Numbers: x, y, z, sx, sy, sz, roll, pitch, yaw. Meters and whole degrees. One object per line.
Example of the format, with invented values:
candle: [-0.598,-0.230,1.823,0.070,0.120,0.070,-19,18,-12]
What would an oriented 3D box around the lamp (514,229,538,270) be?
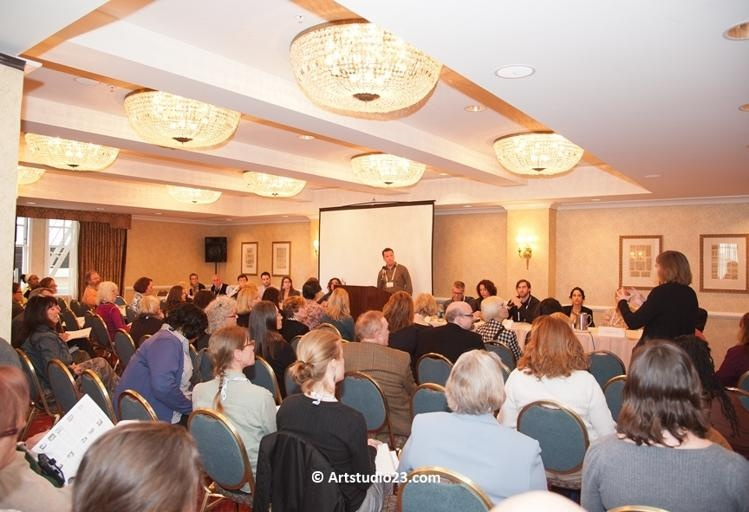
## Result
lamp: [2.835,-0.121,9.677,0.370,0.733,0.140,0,-1,23]

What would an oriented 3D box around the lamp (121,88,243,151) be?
lamp: [-1.849,-1.284,5.038,0.730,0.309,0.744,-13,-22,42]

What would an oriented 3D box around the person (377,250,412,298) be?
person: [0.380,0.327,9.288,0.592,1.239,0.407,-12,-20,25]

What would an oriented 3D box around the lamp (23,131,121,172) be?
lamp: [-3.704,-1.245,6.302,0.665,0.258,0.676,-1,-4,38]

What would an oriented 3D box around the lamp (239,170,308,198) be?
lamp: [-1.707,-1.202,8.779,0.576,0.236,0.572,0,-13,0]

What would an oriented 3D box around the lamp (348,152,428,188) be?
lamp: [0.183,-1.282,7.427,0.890,0.479,0.676,0,-2,30]

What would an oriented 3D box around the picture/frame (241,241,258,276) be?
picture/frame: [-3.474,0.070,14.312,0.877,1.183,0.059,-8,-13,37]

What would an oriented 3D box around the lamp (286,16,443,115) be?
lamp: [-0.072,-1.496,3.993,1.128,0.506,0.655,1,-2,-15]

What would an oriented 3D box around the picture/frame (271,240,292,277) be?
picture/frame: [-2.474,0.085,13.671,0.877,1.174,0.046,-7,-13,33]
